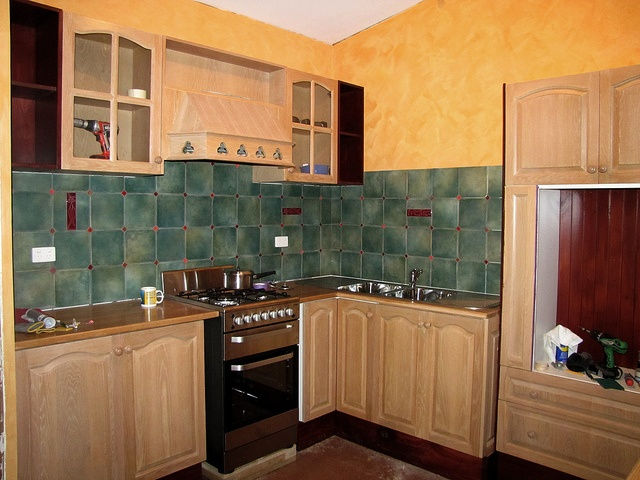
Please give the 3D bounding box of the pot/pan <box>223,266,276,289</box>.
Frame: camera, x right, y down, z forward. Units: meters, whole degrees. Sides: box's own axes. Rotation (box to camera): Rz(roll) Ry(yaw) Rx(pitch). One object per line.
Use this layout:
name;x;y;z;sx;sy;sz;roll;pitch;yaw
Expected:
pot/pan;-0.584;0.288;4.229;0.326;0.136;0.182;0;-1;20

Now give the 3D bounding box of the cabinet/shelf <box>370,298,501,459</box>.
cabinet/shelf;0.842;0.986;3.875;0.647;1.135;1.239;-1;2;-44

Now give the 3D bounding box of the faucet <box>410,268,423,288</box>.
faucet;0.814;0.323;4.543;0.139;0.208;0.106;-2;3;14

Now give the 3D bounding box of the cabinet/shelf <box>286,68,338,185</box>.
cabinet/shelf;-0.054;-0.962;4.625;0.848;0.913;0.424;0;1;-44

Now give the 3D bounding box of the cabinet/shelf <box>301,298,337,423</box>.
cabinet/shelf;-0.007;0.961;4.258;0.277;0.945;0.309;-4;7;-44

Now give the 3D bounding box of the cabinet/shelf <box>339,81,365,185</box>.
cabinet/shelf;0.278;-0.966;4.904;0.237;0.909;0.329;-1;4;14

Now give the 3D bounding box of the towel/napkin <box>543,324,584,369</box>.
towel/napkin;1.667;0.715;3.663;0.229;0.279;0.279;-4;-6;32

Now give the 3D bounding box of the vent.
vent;-0.693;-0.806;3.939;0.179;0.269;0.620;1;4;44

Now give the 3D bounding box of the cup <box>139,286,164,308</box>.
cup;-1.203;0.413;3.827;0.173;0.132;0.114;2;1;-31

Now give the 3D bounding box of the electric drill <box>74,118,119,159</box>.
electric drill;-1.513;-0.666;3.542;0.214;0.275;0.211;-3;4;-22

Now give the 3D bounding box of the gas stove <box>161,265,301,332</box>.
gas stove;-0.670;0.340;4.141;0.810;0.416;0.974;10;7;43
